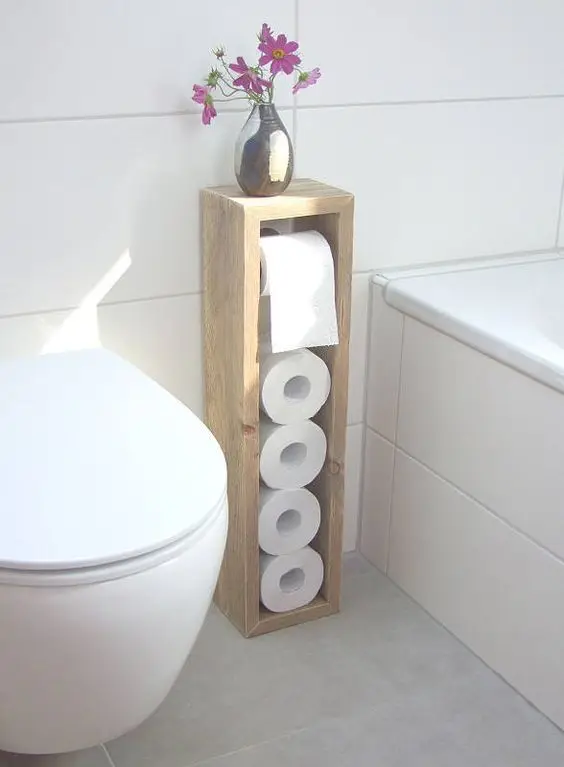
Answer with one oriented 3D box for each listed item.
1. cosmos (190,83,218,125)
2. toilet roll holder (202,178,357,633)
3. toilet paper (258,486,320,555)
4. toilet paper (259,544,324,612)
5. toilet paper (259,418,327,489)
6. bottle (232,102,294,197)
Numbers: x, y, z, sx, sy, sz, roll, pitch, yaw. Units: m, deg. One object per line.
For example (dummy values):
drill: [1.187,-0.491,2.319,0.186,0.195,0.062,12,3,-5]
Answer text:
cosmos: [-0.103,-0.375,0.872,0.033,0.051,0.066,-1,15,-7]
toilet roll holder: [0.007,0.029,0.997,0.187,0.623,0.155,-2,6,-15]
toilet paper: [0.008,0.216,1.039,0.092,0.095,0.049,-13,27,-32]
toilet paper: [0.012,0.316,1.067,0.099,0.102,0.054,-9,20,-34]
toilet paper: [0.011,0.096,1.056,0.104,0.106,0.105,-4,10,-20]
bottle: [-0.025,-0.303,0.854,0.075,0.116,0.078,2,22,-1]
